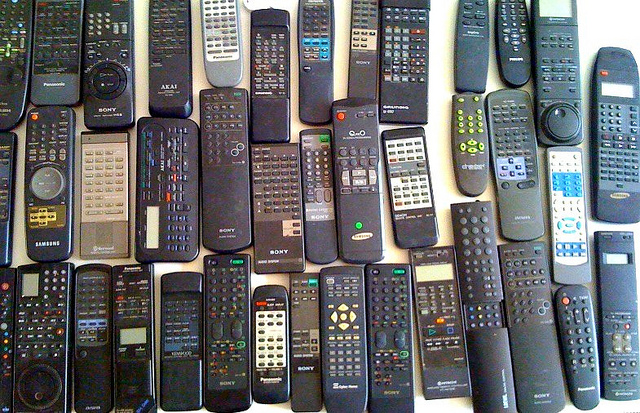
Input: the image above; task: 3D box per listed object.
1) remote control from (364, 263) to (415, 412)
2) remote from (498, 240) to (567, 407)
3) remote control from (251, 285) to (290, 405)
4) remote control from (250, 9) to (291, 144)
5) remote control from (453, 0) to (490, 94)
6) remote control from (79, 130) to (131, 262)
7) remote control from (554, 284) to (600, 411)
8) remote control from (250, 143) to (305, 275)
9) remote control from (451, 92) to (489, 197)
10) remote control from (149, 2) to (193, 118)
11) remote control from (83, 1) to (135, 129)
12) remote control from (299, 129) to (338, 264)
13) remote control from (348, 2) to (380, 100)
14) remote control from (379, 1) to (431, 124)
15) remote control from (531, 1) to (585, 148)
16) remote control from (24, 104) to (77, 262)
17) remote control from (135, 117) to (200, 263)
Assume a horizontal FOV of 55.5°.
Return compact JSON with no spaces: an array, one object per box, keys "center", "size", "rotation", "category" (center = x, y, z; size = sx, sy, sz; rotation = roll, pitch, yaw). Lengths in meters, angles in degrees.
[{"center":[0.186,0.354,1.657],"size":[0.118,0.351,0.198],"rotation":[0,21,-6],"category":"remote control"},{"center":[0.581,0.317,1.622],"size":[0.134,0.452,0.065],"rotation":[-2,-6,0],"category":"remote"},{"center":[-0.137,0.368,1.643],"size":[0.092,0.273,0.146],"rotation":[-1,21,-9],"category":"remote control"},{"center":[-0.145,-0.368,1.724],"size":[0.108,0.353,0.181],"rotation":[0,21,-6],"category":"remote control"},{"center":[0.441,-0.464,1.769],"size":[0.096,0.251,0.129],"rotation":[5,21,6],"category":"remote control"},{"center":[-0.597,-0.034,1.679],"size":[0.146,0.318,0.176],"rotation":[-4,22,-16],"category":"remote control"},{"center":[0.709,0.393,1.732],"size":[0.106,0.335,0.080],"rotation":[-7,-10,-2],"category":"remote control"},{"center":[-0.121,0.001,1.686],"size":[0.148,0.322,0.178],"rotation":[0,21,-6],"category":"remote control"},{"center":[0.425,-0.177,1.733],"size":[0.111,0.271,0.138],"rotation":[5,21,6],"category":"remote control"},{"center":[-0.426,-0.416,1.710],"size":[0.110,0.339,0.067],"rotation":[0,0,-5],"category":"remote control"},{"center":[-0.598,-0.402,1.713],"size":[0.142,0.333,0.196],"rotation":[-3,22,-15],"category":"remote control"},{"center":[-0.006,-0.032,1.644],"size":[0.108,0.367,0.062],"rotation":[-1,-2,-3],"category":"remote control"},{"center":[0.127,-0.453,1.750],"size":[0.082,0.251,0.142],"rotation":[3,21,3],"category":"remote control"},{"center":[0.240,-0.418,1.747],"size":[0.145,0.325,0.166],"rotation":[3,21,2],"category":"remote control"},{"center":[0.683,-0.392,1.752],"size":[0.125,0.462,0.080],"rotation":[0,-3,1],"category":"remote control"},{"center":[-0.745,-0.058,1.674],"size":[0.140,0.414,0.080],"rotation":[-3,-4,-2],"category":"remote control"},{"center":[-0.422,-0.051,1.676],"size":[0.167,0.352,0.182],"rotation":[-1,21,-8],"category":"remote control"}]
